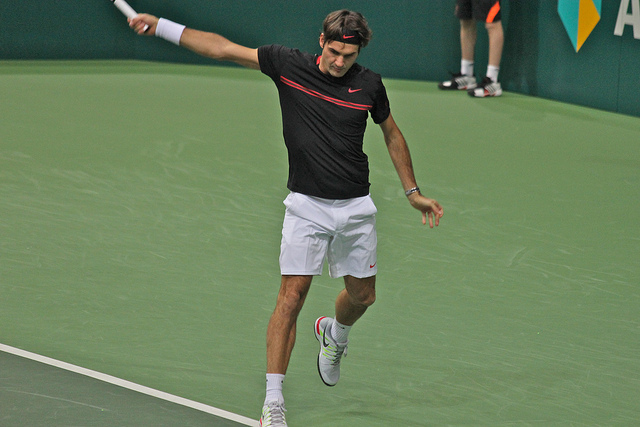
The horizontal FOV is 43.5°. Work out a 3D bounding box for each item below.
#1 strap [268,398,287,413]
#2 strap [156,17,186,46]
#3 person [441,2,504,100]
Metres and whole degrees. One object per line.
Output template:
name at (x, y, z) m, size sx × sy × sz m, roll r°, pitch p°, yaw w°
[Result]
strap at (-0.313, 1.395, 5.798) m, size 0.114 × 0.046 × 0.038 m, roll 35°, pitch 41°, yaw 9°
strap at (-1.191, -1.427, 6.296) m, size 0.220 × 0.184 × 0.157 m, roll 20°, pitch 25°, yaw 38°
person at (2.137, -2.299, 11.112) m, size 0.659 × 1.294 × 1.080 m, roll -5°, pitch 22°, yaw -25°
